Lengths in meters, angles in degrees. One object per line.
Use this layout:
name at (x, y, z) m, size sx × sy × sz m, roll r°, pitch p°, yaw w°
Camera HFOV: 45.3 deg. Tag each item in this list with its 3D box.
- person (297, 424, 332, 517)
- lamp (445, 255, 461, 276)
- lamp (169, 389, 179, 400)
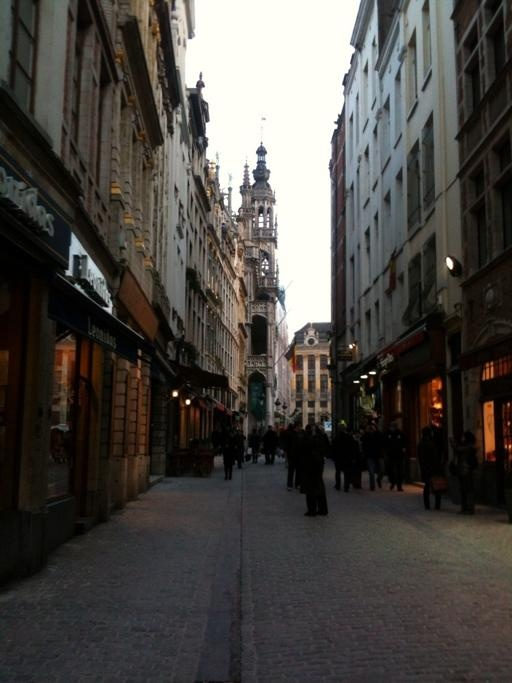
person at (1.100, 2.506, 11.714) m, size 0.320 × 1.728 × 0.453 m, roll 2°, pitch -17°, yaw -13°
lamp at (5.428, -2.069, 16.749) m, size 0.689 × 0.500 × 0.332 m, roll 9°, pitch -12°, yaw -43°
lamp at (-3.207, 2.102, 24.195) m, size 0.198 × 0.409 × 0.388 m, roll 0°, pitch -1°, yaw 0°
